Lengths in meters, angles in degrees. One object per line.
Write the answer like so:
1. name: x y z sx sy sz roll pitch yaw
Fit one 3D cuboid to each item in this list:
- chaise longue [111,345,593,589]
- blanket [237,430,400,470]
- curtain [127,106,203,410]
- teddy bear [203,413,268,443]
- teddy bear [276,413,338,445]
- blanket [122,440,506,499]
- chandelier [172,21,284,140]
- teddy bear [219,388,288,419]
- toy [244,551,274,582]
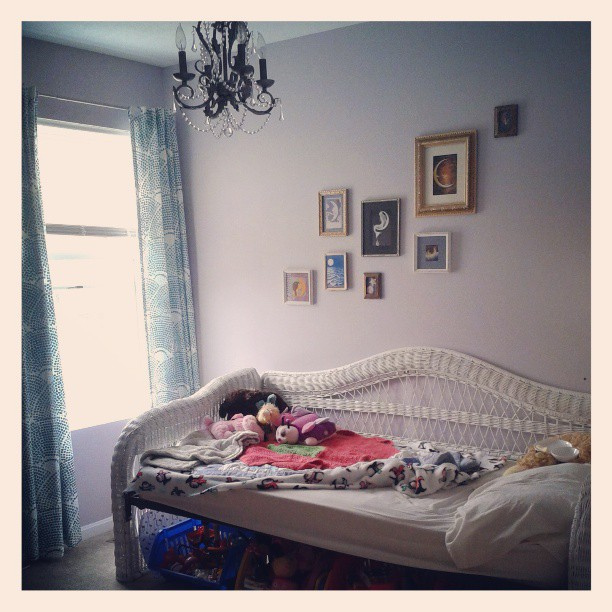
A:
1. chaise longue: 0.316 0.907 2.972 1.844 1.197 2.145 5 5 24
2. blanket: 0.042 0.712 2.565 0.607 0.039 0.600 3 4 22
3. curtain: -0.901 -0.291 3.557 0.387 2.090 0.095 -8 22 -22
4. teddy bear: -0.391 0.649 2.814 0.186 0.077 0.195 6 11 27
5. teddy bear: -0.008 0.651 2.740 0.176 0.072 0.177 -7 -1 -24
6. blanket: 0.097 0.793 2.557 1.824 0.108 0.910 -3 -5 2
7. chandelier: -0.289 -0.981 1.966 0.346 0.614 0.361 -1 4 -11
8. teddy bear: -0.315 0.552 3.033 0.272 0.122 0.177 -1 -3 9
9. toy: -0.195 1.132 2.244 0.114 0.120 0.029 -5 -4 21
